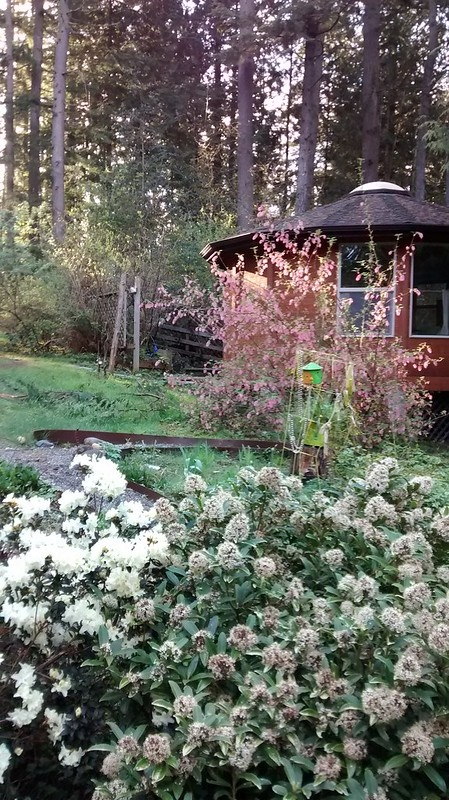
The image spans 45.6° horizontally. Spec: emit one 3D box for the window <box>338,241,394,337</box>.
[{"bbox_3d":[2.379,-1.960,8.983,1.015,1.287,2.165,5,2,15],"label":"window"}]
